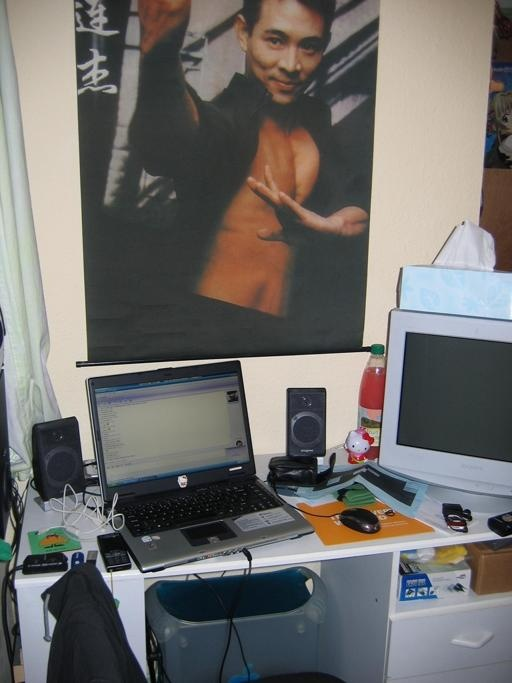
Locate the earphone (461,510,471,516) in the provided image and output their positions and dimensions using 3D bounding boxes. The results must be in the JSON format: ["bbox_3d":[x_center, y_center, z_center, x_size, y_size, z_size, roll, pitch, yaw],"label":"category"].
[{"bbox_3d":[0.483,0.391,1.279,0.010,0.012,0.013,3,-12,11],"label":"earphone"}]

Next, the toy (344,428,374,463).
[{"bbox_3d":[0.290,0.291,1.553,0.083,0.113,0.073,3,2,-14],"label":"toy"}]

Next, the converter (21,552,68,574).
[{"bbox_3d":[-0.403,0.423,1.066,0.082,0.015,0.062,-4,13,-19],"label":"converter"}]

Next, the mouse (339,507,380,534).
[{"bbox_3d":[0.231,0.396,1.243,0.072,0.022,0.097,-7,14,-30],"label":"mouse"}]
